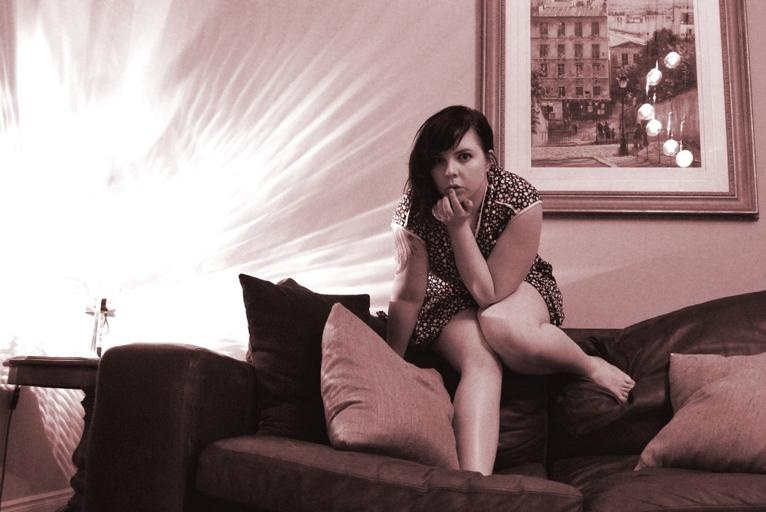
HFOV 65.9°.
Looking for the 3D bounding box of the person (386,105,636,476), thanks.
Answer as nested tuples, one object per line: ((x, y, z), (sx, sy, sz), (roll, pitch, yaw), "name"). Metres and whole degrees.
((0.422, 0.166, 2.291), (1.080, 1.417, 0.804), (-4, 5, -1), "person")
